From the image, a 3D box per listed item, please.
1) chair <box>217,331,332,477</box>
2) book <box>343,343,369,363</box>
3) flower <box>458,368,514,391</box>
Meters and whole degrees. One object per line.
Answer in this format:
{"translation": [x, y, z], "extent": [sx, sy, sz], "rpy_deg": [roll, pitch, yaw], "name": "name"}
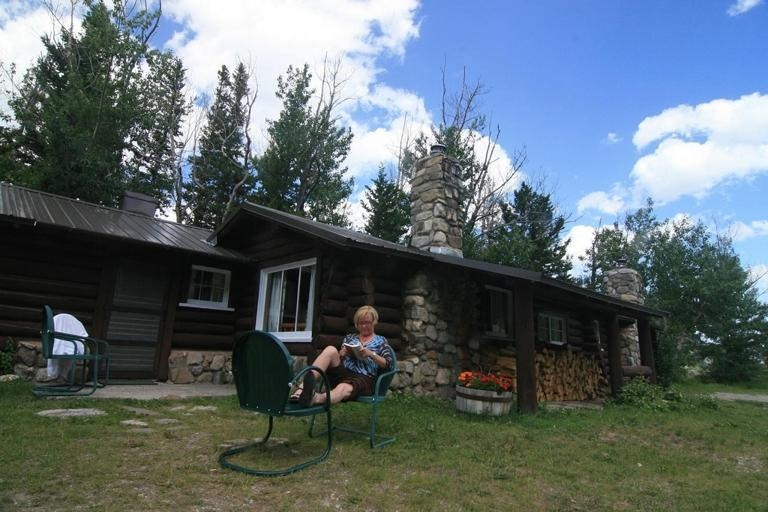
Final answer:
{"translation": [-1.830, 2.342, 7.830], "extent": [1.630, 2.187, 0.970], "rpy_deg": [5, 11, 5], "name": "chair"}
{"translation": [-0.495, 1.736, 8.488], "extent": [0.297, 0.117, 0.324], "rpy_deg": [10, -38, 19], "name": "book"}
{"translation": [2.231, 2.856, 10.804], "extent": [0.725, 0.258, 0.754], "rpy_deg": [12, -17, -31], "name": "flower"}
